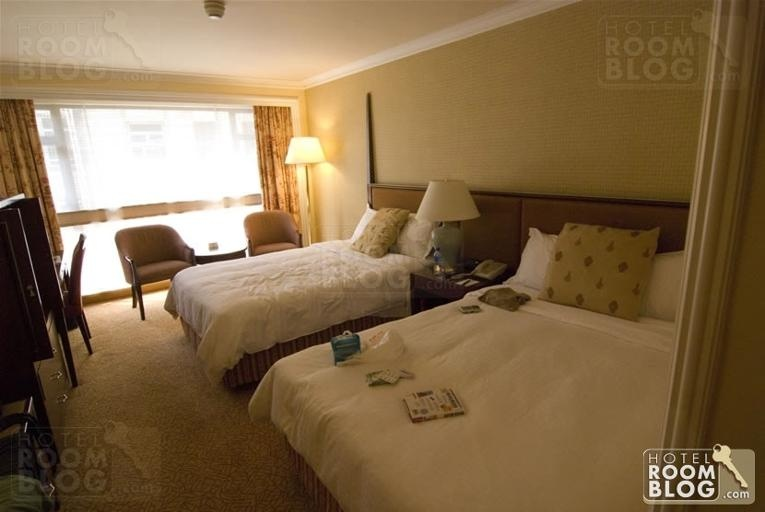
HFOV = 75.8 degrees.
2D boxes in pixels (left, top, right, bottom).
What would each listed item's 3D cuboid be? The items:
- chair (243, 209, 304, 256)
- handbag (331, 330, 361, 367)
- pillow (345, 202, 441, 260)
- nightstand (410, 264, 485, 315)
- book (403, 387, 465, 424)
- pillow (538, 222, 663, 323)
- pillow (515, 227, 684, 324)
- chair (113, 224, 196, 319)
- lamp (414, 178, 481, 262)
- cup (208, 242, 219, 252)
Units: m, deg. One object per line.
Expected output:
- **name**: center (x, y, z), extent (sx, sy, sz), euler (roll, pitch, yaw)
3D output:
- **chair**: center (-1.312, -0.305, 5.833), extent (0.557, 0.721, 0.607), euler (-7, 9, -25)
- **handbag**: center (-0.198, 0.490, 2.644), extent (0.156, 0.150, 0.119), euler (-10, 22, -18)
- **pillow**: center (0.120, -0.211, 4.491), extent (0.719, 0.487, 0.237), euler (14, -16, 38)
- **nightstand**: center (0.517, 0.261, 3.903), extent (0.334, 0.503, 0.597), euler (-15, 19, -32)
- **book**: center (0.232, 0.674, 2.225), extent (0.259, 0.051, 0.179), euler (-6, 13, -9)
- **pillow**: center (1.320, 0.061, 3.046), extent (0.326, 0.522, 0.632), euler (-11, 16, -42)
- **pillow**: center (1.270, 0.098, 3.048), extent (0.368, 0.441, 1.255), euler (-11, 15, -27)
- **chair**: center (-2.349, 0.150, 5.103), extent (0.538, 0.879, 0.646), euler (13, 20, 41)
- **lamp**: center (0.527, -0.245, 4.006), extent (0.563, 0.697, 0.545), euler (-3, 10, -2)
- **cup**: center (-1.833, -0.097, 5.340), extent (0.094, 0.082, 0.093), euler (-3, 0, 0)
